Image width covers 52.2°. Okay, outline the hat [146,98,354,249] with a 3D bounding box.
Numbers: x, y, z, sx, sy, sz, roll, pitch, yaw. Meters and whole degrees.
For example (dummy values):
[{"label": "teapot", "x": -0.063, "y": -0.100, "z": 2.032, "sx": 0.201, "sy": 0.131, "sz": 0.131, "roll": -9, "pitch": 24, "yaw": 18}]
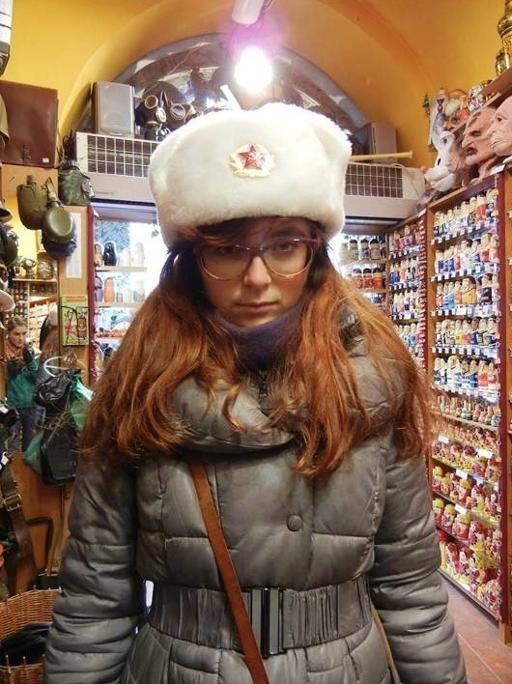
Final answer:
[{"label": "hat", "x": -0.016, "y": -0.254, "z": 0.904, "sx": 0.294, "sy": 0.177, "sz": 0.224, "roll": -14, "pitch": -10, "yaw": 35}]
